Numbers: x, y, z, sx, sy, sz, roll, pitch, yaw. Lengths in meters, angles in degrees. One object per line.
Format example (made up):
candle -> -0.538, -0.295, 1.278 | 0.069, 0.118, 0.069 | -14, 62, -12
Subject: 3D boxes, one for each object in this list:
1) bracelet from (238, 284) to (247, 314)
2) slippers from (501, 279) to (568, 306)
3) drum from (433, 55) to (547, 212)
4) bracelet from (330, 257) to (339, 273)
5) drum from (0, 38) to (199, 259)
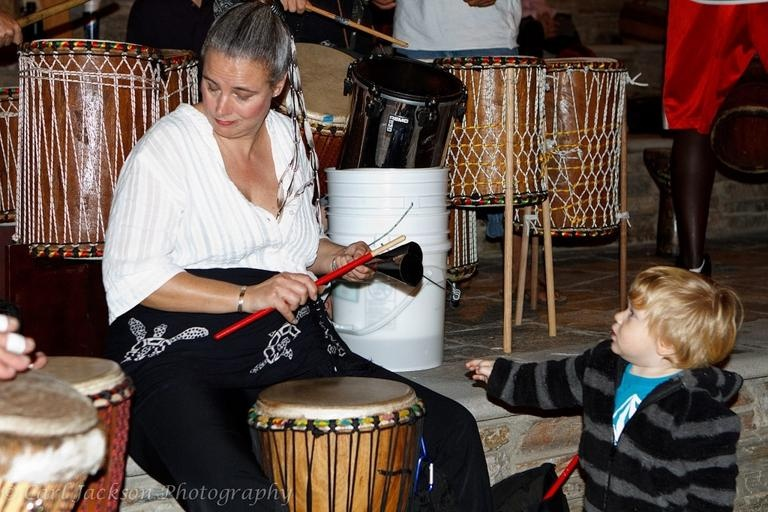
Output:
bracelet -> -0.527, 0.160, 2.846 | 0.033, 0.086, 0.039 | 0, 8, 2
slippers -> 1.020, 0.257, 5.478 | 0.524, 0.211, 0.175 | -3, -3, 15
drum -> 0.575, -0.650, 4.474 | 0.720, 0.824, 0.826 | 1, 5, -1
bracelet -> -0.218, 0.037, 3.273 | 0.042, 0.049, 0.051 | 0, 18, -2
drum -> -1.385, -0.550, 4.029 | 0.992, 0.936, 0.952 | 1, 12, -42
